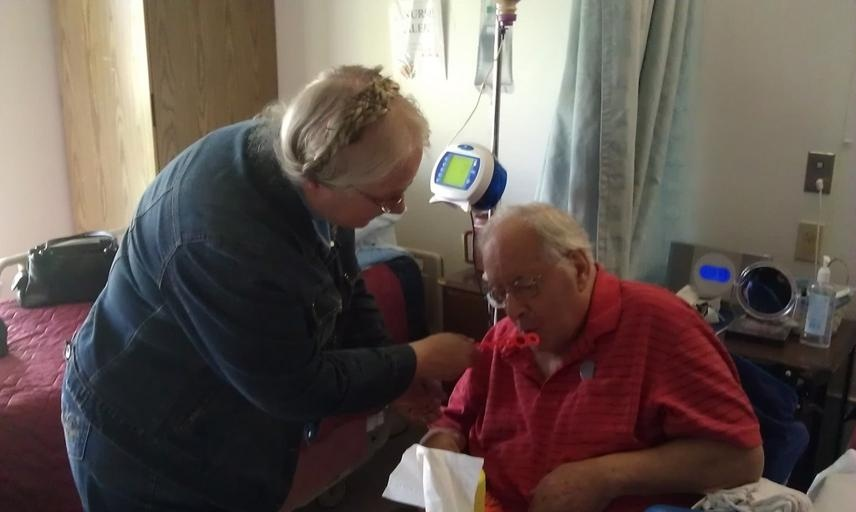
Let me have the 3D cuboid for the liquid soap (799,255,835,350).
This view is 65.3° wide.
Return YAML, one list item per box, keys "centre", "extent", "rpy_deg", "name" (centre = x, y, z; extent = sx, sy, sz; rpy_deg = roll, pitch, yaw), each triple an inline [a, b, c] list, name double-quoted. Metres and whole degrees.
- centre: [1.725, 0.223, 2.937]
  extent: [0.103, 0.455, 0.116]
  rpy_deg: [1, 1, 30]
  name: "liquid soap"

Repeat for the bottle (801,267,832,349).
- centre: [1.735, 0.211, 2.948]
  extent: [0.116, 0.356, 0.123]
  rpy_deg: [1, 13, 0]
  name: "bottle"
